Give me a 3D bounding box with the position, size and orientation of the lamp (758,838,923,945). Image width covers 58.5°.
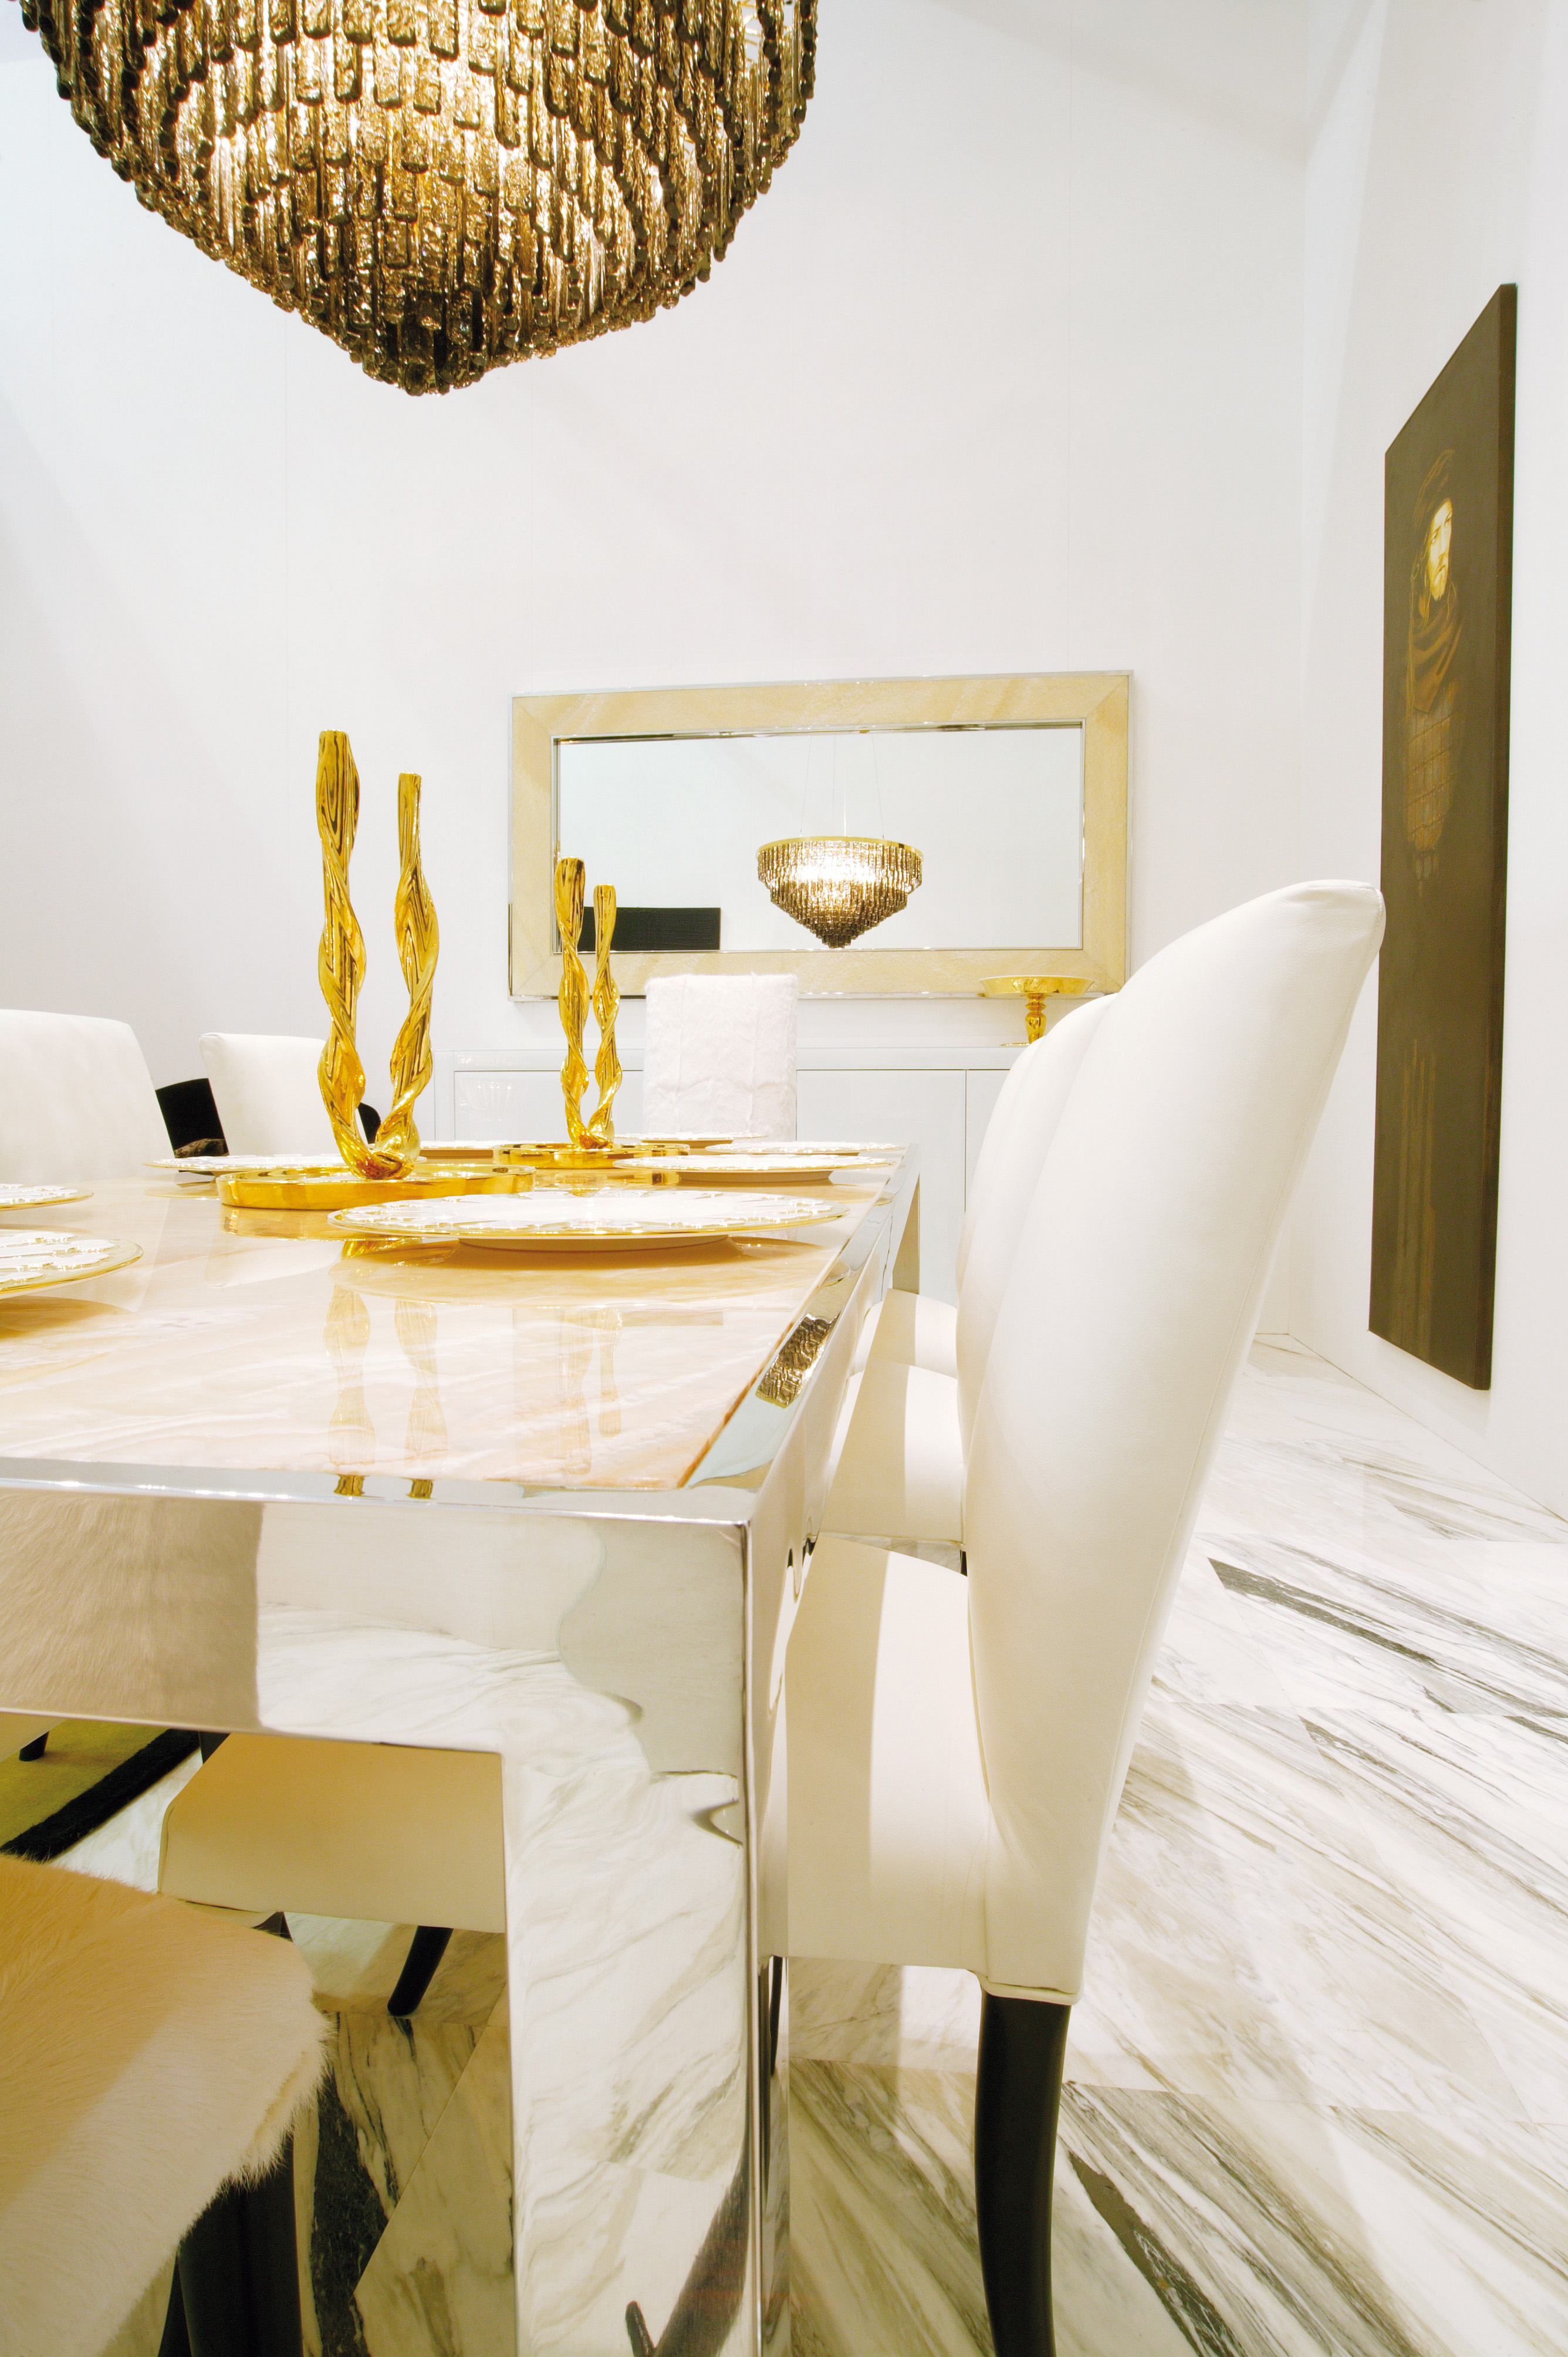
[{"bbox_3d":[0.140,-0.794,3.722,0.239,0.244,0.301,-1,9,-8],"label":"lamp"}]
